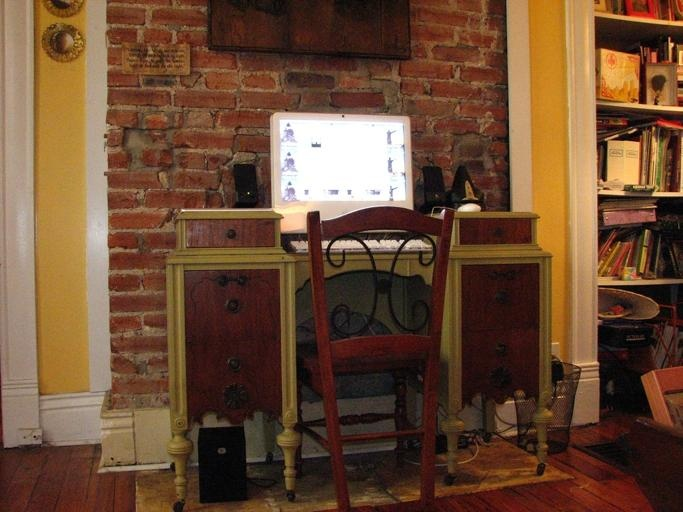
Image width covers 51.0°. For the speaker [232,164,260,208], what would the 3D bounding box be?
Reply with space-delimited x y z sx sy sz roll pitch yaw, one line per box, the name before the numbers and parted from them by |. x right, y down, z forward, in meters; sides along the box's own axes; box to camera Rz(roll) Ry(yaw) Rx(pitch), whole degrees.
speaker | -0.465 -0.376 3.576 0.144 0.196 0.142 -6 21 -13

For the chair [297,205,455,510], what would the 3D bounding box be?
chair | 0.151 0.442 3.116 0.709 1.318 0.652 -4 6 -4

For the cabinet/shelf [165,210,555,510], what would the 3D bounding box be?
cabinet/shelf | 0.062 0.477 3.279 1.451 0.936 0.528 -1 -1 -13

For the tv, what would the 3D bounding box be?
tv | -0.029 -0.403 3.514 0.704 0.492 0.059 -1 0 -17
